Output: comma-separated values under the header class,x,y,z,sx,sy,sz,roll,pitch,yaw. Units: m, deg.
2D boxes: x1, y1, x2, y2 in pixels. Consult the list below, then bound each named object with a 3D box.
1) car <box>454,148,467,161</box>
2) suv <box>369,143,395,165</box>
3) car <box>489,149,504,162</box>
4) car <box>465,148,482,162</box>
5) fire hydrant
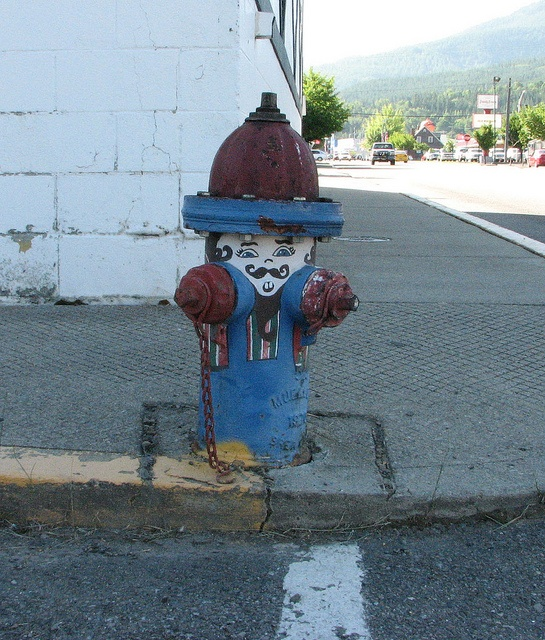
class,x,y,z,sx,sy,sz,roll,pitch,yaw
car,22.629,-19.949,113.774,2.115,1.158,2.736,1,1,6
suv,7.277,-11.147,62.791,1.282,1.019,2.408,-1,6,0
car,21.807,-15.882,91.038,1.012,1.289,8.490,2,12,12
car,22.148,-18.033,103.428,1.585,1.186,2.540,3,20,8
fire hydrant,-0.032,-0.141,3.934,0.742,1.581,0.551,-1,13,-3
